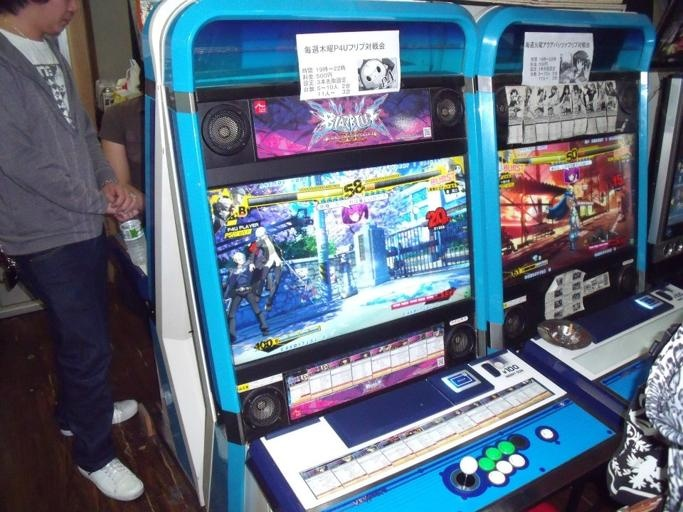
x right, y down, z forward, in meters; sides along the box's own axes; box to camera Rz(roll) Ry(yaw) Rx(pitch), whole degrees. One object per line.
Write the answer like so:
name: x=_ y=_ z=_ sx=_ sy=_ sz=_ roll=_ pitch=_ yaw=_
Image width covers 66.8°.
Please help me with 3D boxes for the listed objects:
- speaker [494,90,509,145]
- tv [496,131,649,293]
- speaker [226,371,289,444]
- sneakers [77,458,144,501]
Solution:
speaker: x=0.498 y=-0.426 z=1.602 sx=0.058 sy=0.174 sz=0.031 roll=-21 pitch=26 yaw=-38
tv: x=0.794 y=-0.178 z=1.773 sx=0.676 sy=0.436 sz=0.102 roll=-15 pitch=23 yaw=-24
speaker: x=-0.212 y=0.419 z=1.432 sx=0.172 sy=0.182 sz=0.054 roll=-5 pitch=15 yaw=-32
sneakers: x=-0.974 y=0.929 z=2.209 sx=0.291 sy=0.119 sz=0.118 roll=15 pitch=33 yaw=23
